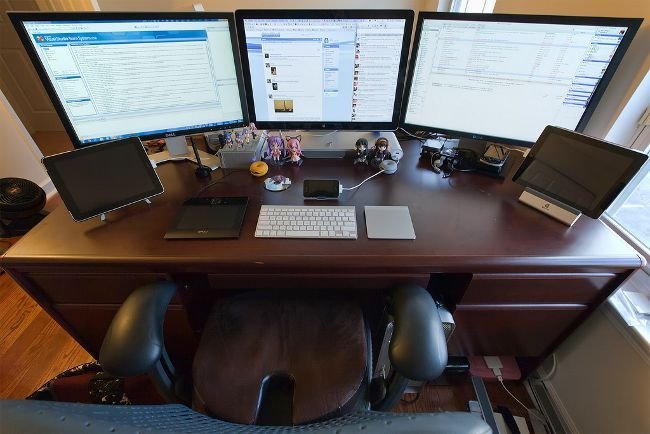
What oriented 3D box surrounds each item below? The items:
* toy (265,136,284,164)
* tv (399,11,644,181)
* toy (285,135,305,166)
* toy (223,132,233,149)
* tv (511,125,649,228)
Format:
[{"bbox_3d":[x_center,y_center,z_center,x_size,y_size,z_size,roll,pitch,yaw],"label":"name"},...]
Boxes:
[{"bbox_3d":[-0.239,-0.317,2.017,0.109,0.156,0.096,-1,49,-2],"label":"toy"},{"bbox_3d":[0.865,-0.538,1.819,0.893,0.613,0.231,8,50,9],"label":"tv"},{"bbox_3d":[-0.148,-0.316,2.041,0.143,0.173,0.097,0,10,-1],"label":"toy"},{"bbox_3d":[-0.462,-0.362,2.015,0.056,0.076,0.028,4,2,5],"label":"toy"},{"bbox_3d":[1.058,-0.178,1.773,0.314,0.282,0.212,37,64,21],"label":"tv"}]
